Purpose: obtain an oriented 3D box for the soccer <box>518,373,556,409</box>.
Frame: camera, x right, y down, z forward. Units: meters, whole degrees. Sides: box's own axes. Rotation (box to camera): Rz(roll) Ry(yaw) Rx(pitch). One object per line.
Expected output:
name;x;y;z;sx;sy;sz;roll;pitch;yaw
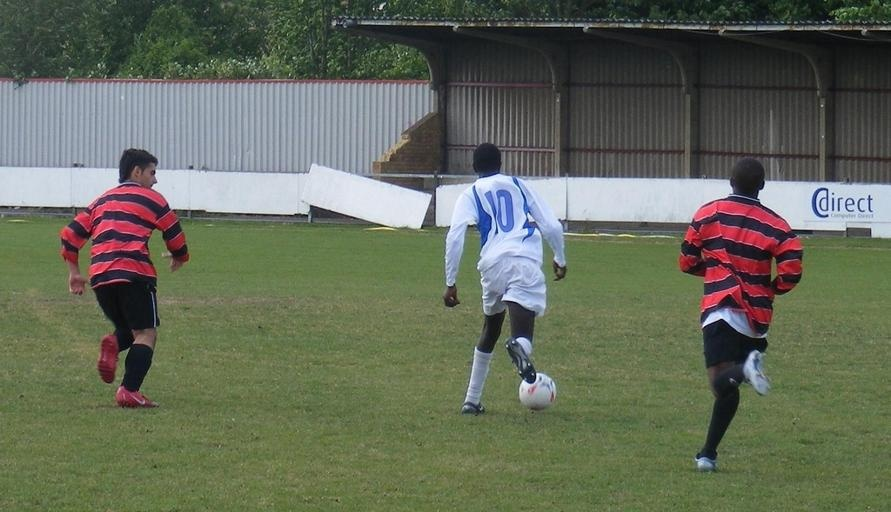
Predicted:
soccer;2.022;2.990;34.053;0.853;0.612;0.815;-6;-8;37
